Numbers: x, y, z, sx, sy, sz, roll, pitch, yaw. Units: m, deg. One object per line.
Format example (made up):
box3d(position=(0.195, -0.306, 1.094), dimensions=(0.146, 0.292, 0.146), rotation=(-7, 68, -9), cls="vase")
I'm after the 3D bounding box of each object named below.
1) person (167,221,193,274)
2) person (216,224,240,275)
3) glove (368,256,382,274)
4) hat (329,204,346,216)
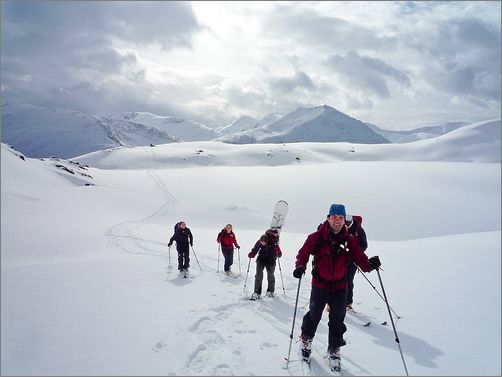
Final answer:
box3d(position=(-3.756, 3.088, 23.867), dimensions=(1.070, 2.763, 1.458), rotation=(3, 9, -10), cls="person")
box3d(position=(-1.275, 3.258, 24.438), dimensions=(1.080, 2.866, 1.532), rotation=(4, 8, -1), cls="person")
box3d(position=(4.734, 2.847, 16.939), dimensions=(0.473, 0.632, 0.466), rotation=(7, 9, 16), cls="glove")
box3d(position=(3.386, 0.825, 17.343), dimensions=(0.606, 0.487, 0.934), rotation=(7, 8, 13), cls="hat")
